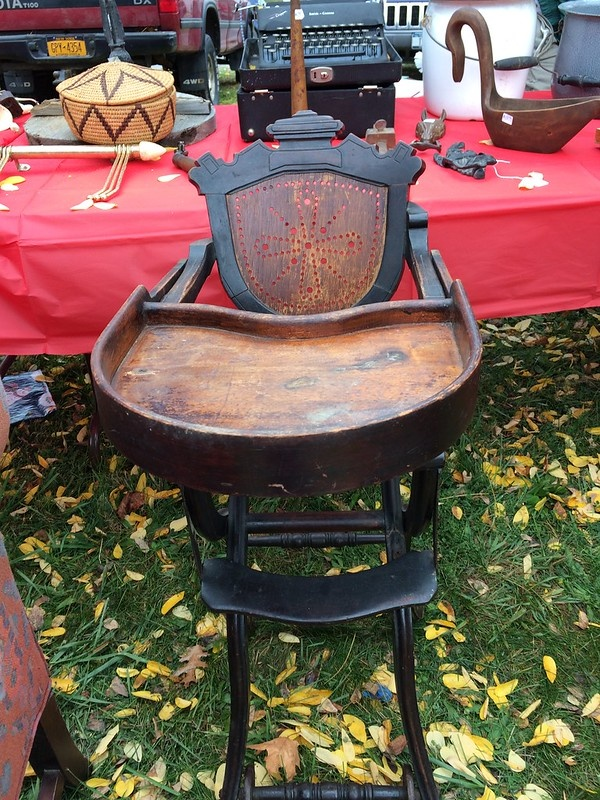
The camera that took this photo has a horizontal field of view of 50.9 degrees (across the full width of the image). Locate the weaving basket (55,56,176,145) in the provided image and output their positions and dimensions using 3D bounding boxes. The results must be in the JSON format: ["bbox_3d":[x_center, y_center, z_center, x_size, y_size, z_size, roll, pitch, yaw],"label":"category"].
[{"bbox_3d":[-0.493,-0.802,1.718,0.272,0.168,0.260,-7,42,-2],"label":"weaving basket"}]

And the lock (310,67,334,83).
[{"bbox_3d":[0.060,-0.905,1.757,0.056,0.039,0.007,-1,41,-2],"label":"lock"}]

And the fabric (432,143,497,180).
[{"bbox_3d":[0.443,-0.636,1.690,0.146,0.046,0.147,-20,39,-24],"label":"fabric"}]

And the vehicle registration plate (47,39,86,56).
[{"bbox_3d":[-1.252,-1.879,3.383,0.228,0.088,0.040,8,33,17],"label":"vehicle registration plate"}]
